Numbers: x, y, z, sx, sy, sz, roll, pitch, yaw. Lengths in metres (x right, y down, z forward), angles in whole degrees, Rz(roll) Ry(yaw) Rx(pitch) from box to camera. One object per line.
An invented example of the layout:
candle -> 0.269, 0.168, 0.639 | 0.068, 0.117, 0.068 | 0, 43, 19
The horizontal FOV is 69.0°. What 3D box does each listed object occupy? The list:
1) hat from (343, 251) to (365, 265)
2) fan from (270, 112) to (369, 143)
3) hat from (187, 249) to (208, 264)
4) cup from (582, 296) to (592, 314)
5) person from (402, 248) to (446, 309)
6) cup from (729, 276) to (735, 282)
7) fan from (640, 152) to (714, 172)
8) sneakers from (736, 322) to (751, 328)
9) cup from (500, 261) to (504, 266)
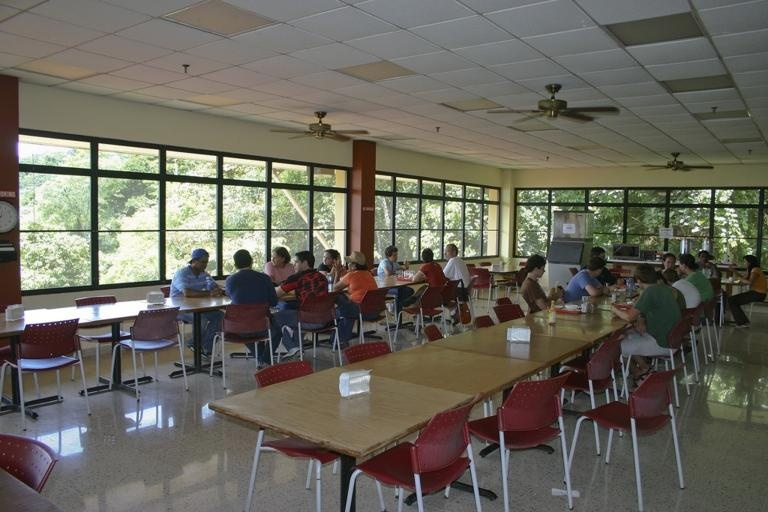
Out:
hat -> -0.453, 0.033, 8.498 | 0.215, 0.098, 0.266 | -3, 11, -29
fan -> -1.143, -2.210, 9.499 | 0.708, 0.214, 0.774 | -4, -4, 37
hat -> -2.579, 0.007, 7.717 | 0.281, 0.143, 0.202 | 0, 8, 29
cup -> 2.585, 0.614, 7.003 | 0.153, 0.218, 0.232 | 1, -3, 3
person -> 0.656, 0.386, 9.598 | 0.828, 0.990, 0.635 | -5, 2, 33
cup -> 7.688, 0.502, 12.402 | 0.101, 0.086, 0.096 | -1, 1, 0
fan -> 6.457, -2.092, 12.311 | 0.730, 0.260, 0.846 | 4, 3, 34
sneakers -> 6.790, 1.312, 10.648 | 0.303, 0.110, 0.091 | 6, 4, 17
cup -> 2.679, 0.161, 12.802 | 0.098, 0.089, 0.098 | -1, 0, 0
